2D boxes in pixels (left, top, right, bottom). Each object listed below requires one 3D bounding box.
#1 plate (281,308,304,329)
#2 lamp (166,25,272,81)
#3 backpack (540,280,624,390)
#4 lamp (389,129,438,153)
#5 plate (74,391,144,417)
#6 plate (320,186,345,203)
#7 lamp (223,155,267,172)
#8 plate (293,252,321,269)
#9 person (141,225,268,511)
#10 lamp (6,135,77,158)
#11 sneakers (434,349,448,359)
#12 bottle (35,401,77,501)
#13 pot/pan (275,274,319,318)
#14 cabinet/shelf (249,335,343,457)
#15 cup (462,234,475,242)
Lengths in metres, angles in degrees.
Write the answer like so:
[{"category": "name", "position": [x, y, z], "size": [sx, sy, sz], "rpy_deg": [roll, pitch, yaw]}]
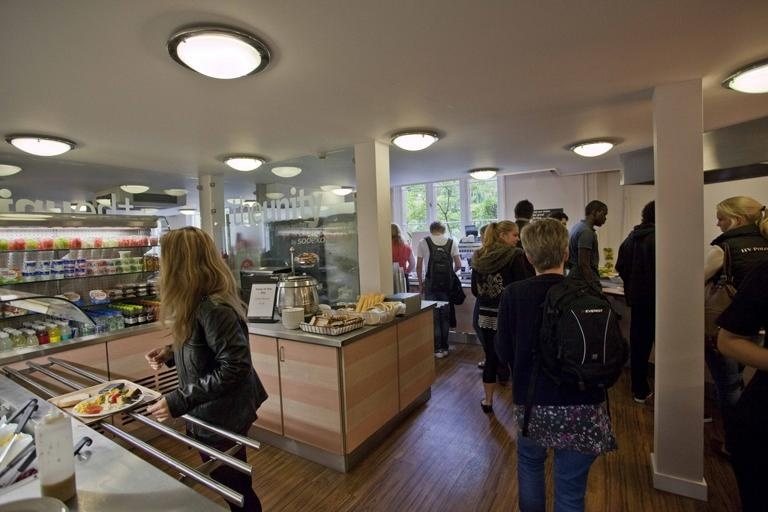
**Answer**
[{"category": "plate", "position": [-0.753, 0.519, 4.096], "size": [0.184, 0.138, 0.172], "rpy_deg": [4, 5, 43]}, {"category": "lamp", "position": [-1.038, -1.301, 3.086], "size": [0.629, 0.238, 0.306], "rpy_deg": [-4, 4, -12]}, {"category": "backpack", "position": [1.202, 0.461, 2.933], "size": [0.496, 0.661, 0.166], "rpy_deg": [-4, 4, -6]}, {"category": "lamp", "position": [0.306, -1.124, 4.603], "size": [0.454, 0.150, 0.256], "rpy_deg": [-3, 4, 5]}, {"category": "plate", "position": [-1.629, 0.867, 2.868], "size": [0.382, 0.084, 0.262], "rpy_deg": [-4, 4, -2]}, {"category": "plate", "position": [-0.568, -0.673, 5.241], "size": [0.217, 0.202, 0.212], "rpy_deg": [-1, 4, -3]}, {"category": "lamp", "position": [-1.523, -1.044, 5.330], "size": [0.438, 0.125, 0.262], "rpy_deg": [-4, 4, -13]}, {"category": "plate", "position": [-0.881, 0.053, 5.401], "size": [0.340, 0.185, 0.189], "rpy_deg": [-1, 5, 35]}, {"category": "person", "position": [-1.121, 0.762, 3.046], "size": [0.679, 1.899, 0.601], "rpy_deg": [-4, 4, -6]}, {"category": "lamp", "position": [-3.020, -0.995, 4.280], "size": [0.500, 0.114, 0.287], "rpy_deg": [-6, 5, -27]}, {"category": "sneakers", "position": [0.711, 1.236, 6.171], "size": [0.108, 0.096, 0.251], "rpy_deg": [-1, 1, -24]}, {"category": "bottle", "position": [-1.566, 0.974, 2.318], "size": [0.150, 0.312, 0.206], "rpy_deg": [-7, 5, -37]}, {"category": "pot/pan", "position": [-0.752, 0.342, 4.227], "size": [0.362, 0.336, 0.355], "rpy_deg": [-1, -3, -1]}, {"category": "cabinet/shelf", "position": [-0.673, 1.123, 3.886], "size": [1.074, 0.973, 0.380], "rpy_deg": [3, 8, 30]}, {"category": "cup", "position": [1.278, -0.270, 7.333], "size": [0.139, 0.090, 0.142], "rpy_deg": [1, 0, 0]}]
